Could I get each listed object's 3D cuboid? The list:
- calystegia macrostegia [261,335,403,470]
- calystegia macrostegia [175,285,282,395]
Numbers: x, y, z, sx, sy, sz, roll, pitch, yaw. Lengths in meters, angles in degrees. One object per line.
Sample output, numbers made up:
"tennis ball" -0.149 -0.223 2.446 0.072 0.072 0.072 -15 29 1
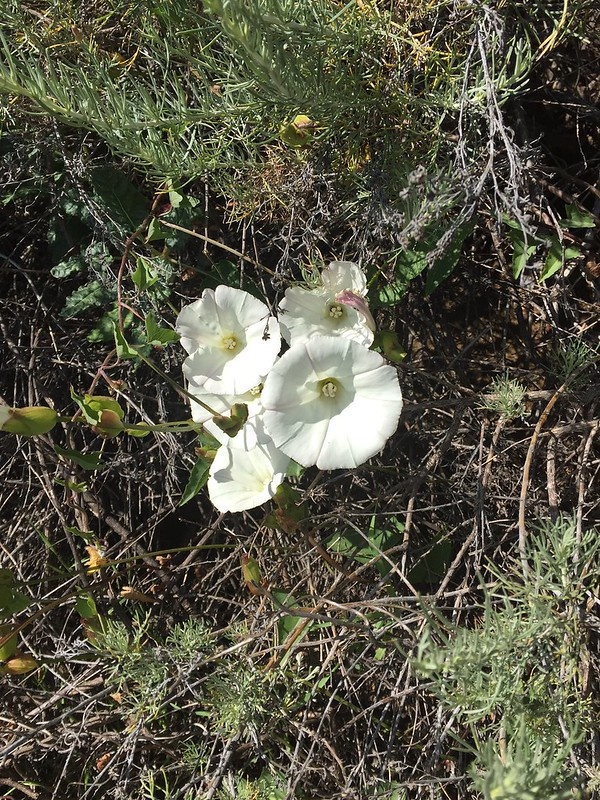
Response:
"calystegia macrostegia" 0.062 0.011 1.540 0.287 0.147 0.282 28 87 3
"calystegia macrostegia" -0.161 -0.134 1.597 0.227 0.102 0.252 -9 86 0
